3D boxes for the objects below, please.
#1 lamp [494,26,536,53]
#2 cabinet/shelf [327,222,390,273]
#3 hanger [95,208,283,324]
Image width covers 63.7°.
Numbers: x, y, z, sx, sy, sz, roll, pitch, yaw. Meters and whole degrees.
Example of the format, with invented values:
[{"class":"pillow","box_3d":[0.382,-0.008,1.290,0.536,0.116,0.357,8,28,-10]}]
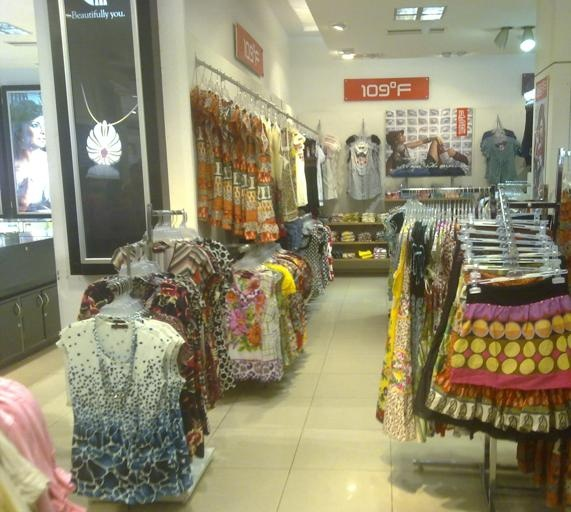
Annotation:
[{"class":"lamp","box_3d":[2.870,-2.710,5.773,0.469,0.257,0.691,3,9,35]},{"class":"cabinet/shelf","box_3d":[1.328,-0.124,8.371,1.056,0.988,0.472,0,7,15]},{"class":"hanger","box_3d":[-0.647,0.035,2.436,0.418,0.431,0.686,0,11,3]}]
